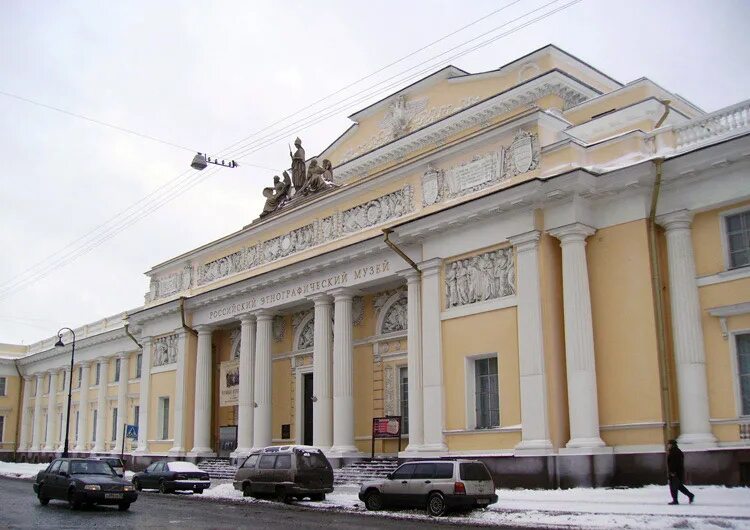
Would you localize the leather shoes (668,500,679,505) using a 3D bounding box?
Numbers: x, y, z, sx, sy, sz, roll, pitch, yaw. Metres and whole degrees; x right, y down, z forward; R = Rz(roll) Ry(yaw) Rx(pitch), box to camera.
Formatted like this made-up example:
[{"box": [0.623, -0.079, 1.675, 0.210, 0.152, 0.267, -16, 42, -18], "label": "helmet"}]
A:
[{"box": [8.184, 6.518, 18.125, 0.247, 0.118, 0.366, -10, -23, 21], "label": "leather shoes"}]

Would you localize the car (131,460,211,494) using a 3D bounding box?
[{"box": [-8.941, 9.342, 29.088, 3.526, 1.471, 1.244, -16, -25, 33], "label": "car"}]

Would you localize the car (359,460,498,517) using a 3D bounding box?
[{"box": [1.604, 6.649, 20.511, 3.898, 1.469, 1.811, -11, -25, 38], "label": "car"}]

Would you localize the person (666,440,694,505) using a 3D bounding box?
[{"box": [8.457, 5.772, 18.488, 0.632, 1.752, 1.205, -10, -23, 22], "label": "person"}]

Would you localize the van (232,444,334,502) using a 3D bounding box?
[{"box": [-3.326, 7.690, 24.728, 3.336, 1.663, 1.855, -10, -21, 41], "label": "van"}]
